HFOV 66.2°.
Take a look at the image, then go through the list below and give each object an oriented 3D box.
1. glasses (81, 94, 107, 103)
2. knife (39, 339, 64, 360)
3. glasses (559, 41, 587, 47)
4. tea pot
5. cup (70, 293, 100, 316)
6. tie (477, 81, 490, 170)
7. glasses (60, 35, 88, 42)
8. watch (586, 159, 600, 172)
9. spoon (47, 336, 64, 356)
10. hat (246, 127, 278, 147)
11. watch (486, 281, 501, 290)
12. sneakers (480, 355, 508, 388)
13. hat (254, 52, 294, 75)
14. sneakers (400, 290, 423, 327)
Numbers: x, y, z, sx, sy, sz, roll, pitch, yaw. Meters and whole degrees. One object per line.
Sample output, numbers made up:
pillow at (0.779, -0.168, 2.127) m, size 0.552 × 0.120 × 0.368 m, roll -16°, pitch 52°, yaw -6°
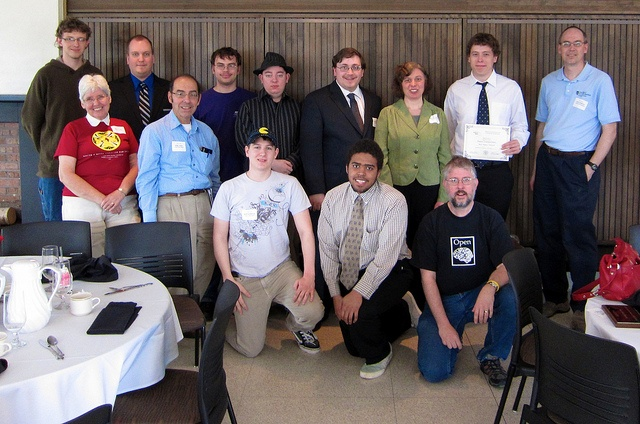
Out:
glasses at (-1.928, -0.971, 4.208) m, size 0.101 × 0.033 × 0.101 m, roll -9°, pitch -4°, yaw -43°
knife at (-1.430, 0.721, 2.611) m, size 0.071 × 0.029 × 0.200 m, roll -21°, pitch 29°, yaw -34°
glasses at (2.368, -1.562, 4.569) m, size 0.199 × 0.058 × 0.069 m, roll -2°, pitch 12°, yaw 1°
tea pot at (-1.620, 0.463, 2.758) m, size 0.379 × 0.441 × 0.267 m, roll 2°, pitch 3°, yaw -16°
cup at (-1.410, 0.550, 2.943) m, size 0.135 × 0.097 × 0.102 m, roll 2°, pitch -3°, yaw -23°
tie at (1.563, -0.830, 4.708) m, size 0.115 × 0.804 × 0.203 m, roll 2°, pitch 12°, yaw 18°
glasses at (-2.386, -1.667, 4.755) m, size 0.214 × 0.044 × 0.067 m, roll -9°, pitch 14°, yaw -28°
watch at (2.584, -0.435, 4.629) m, size 0.087 × 0.096 × 0.089 m, roll 41°, pitch -13°, yaw -34°
spoon at (-1.419, 0.716, 2.620) m, size 0.053 × 0.027 × 0.196 m, roll -32°, pitch 34°, yaw -26°
hat at (-0.488, -0.624, 4.111) m, size 0.230 × 0.172 × 0.387 m, roll 5°, pitch -3°, yaw -4°
watch at (1.325, 0.550, 3.736) m, size 0.071 × 0.029 × 0.079 m, roll 28°, pitch 15°, yaw -37°
sneakers at (1.362, 1.252, 3.835) m, size 0.095 × 0.125 × 0.266 m, roll -3°, pitch 6°, yaw -5°
hat at (-0.498, -1.526, 5.029) m, size 0.315 × 0.147 × 0.327 m, roll -10°, pitch -11°, yaw -5°
sneakers at (0.866, 0.897, 4.592) m, size 0.128 × 0.416 × 0.168 m, roll -12°, pitch 2°, yaw 16°
